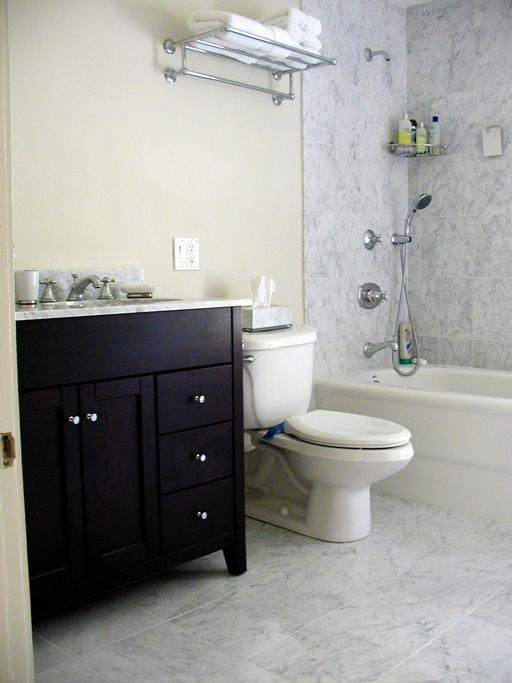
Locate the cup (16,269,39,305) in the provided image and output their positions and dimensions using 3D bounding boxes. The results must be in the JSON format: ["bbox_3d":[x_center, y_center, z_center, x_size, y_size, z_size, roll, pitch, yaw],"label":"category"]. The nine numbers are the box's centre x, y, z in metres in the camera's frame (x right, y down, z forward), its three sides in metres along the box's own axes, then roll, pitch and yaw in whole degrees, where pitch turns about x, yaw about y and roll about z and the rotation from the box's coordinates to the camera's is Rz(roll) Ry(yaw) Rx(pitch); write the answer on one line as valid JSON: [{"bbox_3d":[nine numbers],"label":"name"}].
[{"bbox_3d":[-0.592,-0.136,1.490,0.057,0.088,0.083,-1,2,-23],"label":"cup"}]

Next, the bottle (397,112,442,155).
[{"bbox_3d":[0.857,-1.053,3.044,0.193,0.244,0.165,7,11,37],"label":"bottle"}]

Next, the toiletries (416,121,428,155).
[{"bbox_3d":[0.877,-1.084,3.059,0.058,0.198,0.195,0,2,18],"label":"toiletries"}]

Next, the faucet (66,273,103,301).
[{"bbox_3d":[-0.507,-0.158,1.670,0.060,0.085,0.159,-6,3,-36],"label":"faucet"}]

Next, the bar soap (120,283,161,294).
[{"bbox_3d":[-0.361,-0.160,1.746,0.110,0.028,0.040,0,1,16],"label":"bar soap"}]
